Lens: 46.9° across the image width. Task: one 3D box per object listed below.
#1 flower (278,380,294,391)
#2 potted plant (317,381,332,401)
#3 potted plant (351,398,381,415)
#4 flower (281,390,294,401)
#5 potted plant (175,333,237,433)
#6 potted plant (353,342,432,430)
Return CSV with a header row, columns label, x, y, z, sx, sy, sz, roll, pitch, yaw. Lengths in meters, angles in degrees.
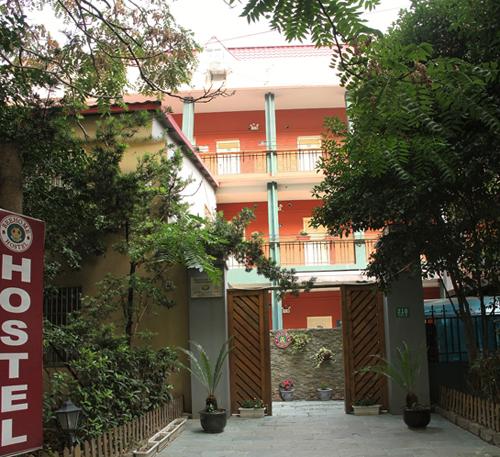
label,x,y,z,sx,sy,sz,roll,pitch,yaw
flower,0.821,3.513,12.963,0.240,0.203,0.233,-2,-14,0
potted plant,1.672,3.632,12.876,0.289,0.293,0.284,-1,-7,23
potted plant,2.073,3.114,10.135,0.400,0.144,0.268,0,-8,-2
flower,0.848,3.713,12.931,0.305,0.237,0.254,-1,-9,-2
potted plant,-0.608,2.479,9.082,0.963,1.281,0.780,-14,-15,12
potted plant,2.459,2.350,8.770,1.257,1.290,1.270,-3,-15,-5
